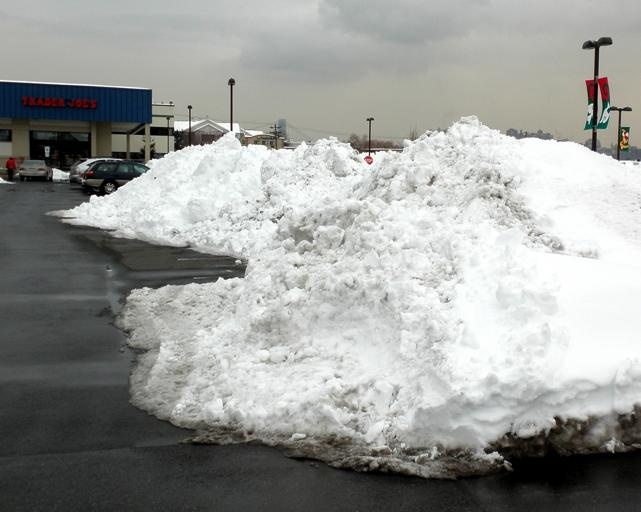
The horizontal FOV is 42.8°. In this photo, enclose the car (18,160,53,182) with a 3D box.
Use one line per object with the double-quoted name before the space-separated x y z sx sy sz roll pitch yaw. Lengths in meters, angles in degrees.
"car" -16.543 -4.873 47.311 1.576 1.201 1.611 -1 9 -3
